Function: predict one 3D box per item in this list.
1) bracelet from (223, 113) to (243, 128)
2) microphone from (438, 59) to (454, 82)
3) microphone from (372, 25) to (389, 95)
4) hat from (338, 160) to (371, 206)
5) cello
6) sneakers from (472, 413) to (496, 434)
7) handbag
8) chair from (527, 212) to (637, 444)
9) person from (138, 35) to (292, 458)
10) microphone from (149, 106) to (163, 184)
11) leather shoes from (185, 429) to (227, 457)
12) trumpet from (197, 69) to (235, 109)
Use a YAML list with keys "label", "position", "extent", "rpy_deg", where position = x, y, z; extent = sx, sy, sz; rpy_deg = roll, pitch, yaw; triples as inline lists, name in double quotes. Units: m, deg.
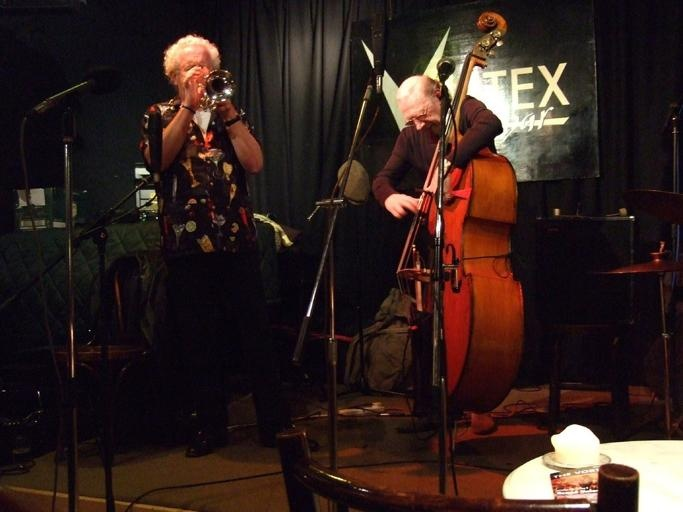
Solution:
- label: "bracelet"
  position: [-0.567, -0.731, 3.869]
  extent: [0.067, 0.059, 0.141]
  rpy_deg: [-1, 2, 39]
- label: "microphone"
  position: [0.490, -0.854, 3.366]
  extent: [0.074, 0.115, 0.145]
  rpy_deg: [-2, 1, 10]
- label: "microphone"
  position: [0.294, -1.539, 5.504]
  extent: [0.111, 0.560, 0.086]
  rpy_deg: [0, 12, 18]
- label: "hat"
  position: [0.093, -0.460, 4.207]
  extent: [0.176, 0.258, 0.076]
  rpy_deg: [10, -39, -14]
- label: "cello"
  position: [0.716, -0.163, 3.840]
  extent: [0.463, 2.109, 0.816]
  rpy_deg: [-2, 1, 12]
- label: "sneakers"
  position: [0.844, 0.993, 4.335]
  extent: [0.143, 0.150, 0.146]
  rpy_deg: [-1, -5, -5]
- label: "handbag"
  position: [0.315, 0.640, 5.335]
  extent: [0.403, 0.779, 0.602]
  rpy_deg: [5, 7, 1]
- label: "chair"
  position: [1.542, 0.370, 4.594]
  extent: [0.656, 1.259, 1.183]
  rpy_deg: [-2, 1, 22]
- label: "person"
  position: [-0.694, -0.039, 3.934]
  extent: [0.710, 1.809, 0.585]
  rpy_deg: [-2, 1, -17]
- label: "microphone"
  position: [-0.856, -0.505, 3.329]
  extent: [0.063, 0.288, 0.192]
  rpy_deg: [-2, 1, -15]
- label: "leather shoes"
  position: [-0.757, 1.039, 4.075]
  extent: [0.181, 0.063, 0.131]
  rpy_deg: [-4, 5, -37]
- label: "trumpet"
  position: [-0.613, -0.833, 3.685]
  extent: [0.167, 0.190, 0.178]
  rpy_deg: [21, 21, -6]
